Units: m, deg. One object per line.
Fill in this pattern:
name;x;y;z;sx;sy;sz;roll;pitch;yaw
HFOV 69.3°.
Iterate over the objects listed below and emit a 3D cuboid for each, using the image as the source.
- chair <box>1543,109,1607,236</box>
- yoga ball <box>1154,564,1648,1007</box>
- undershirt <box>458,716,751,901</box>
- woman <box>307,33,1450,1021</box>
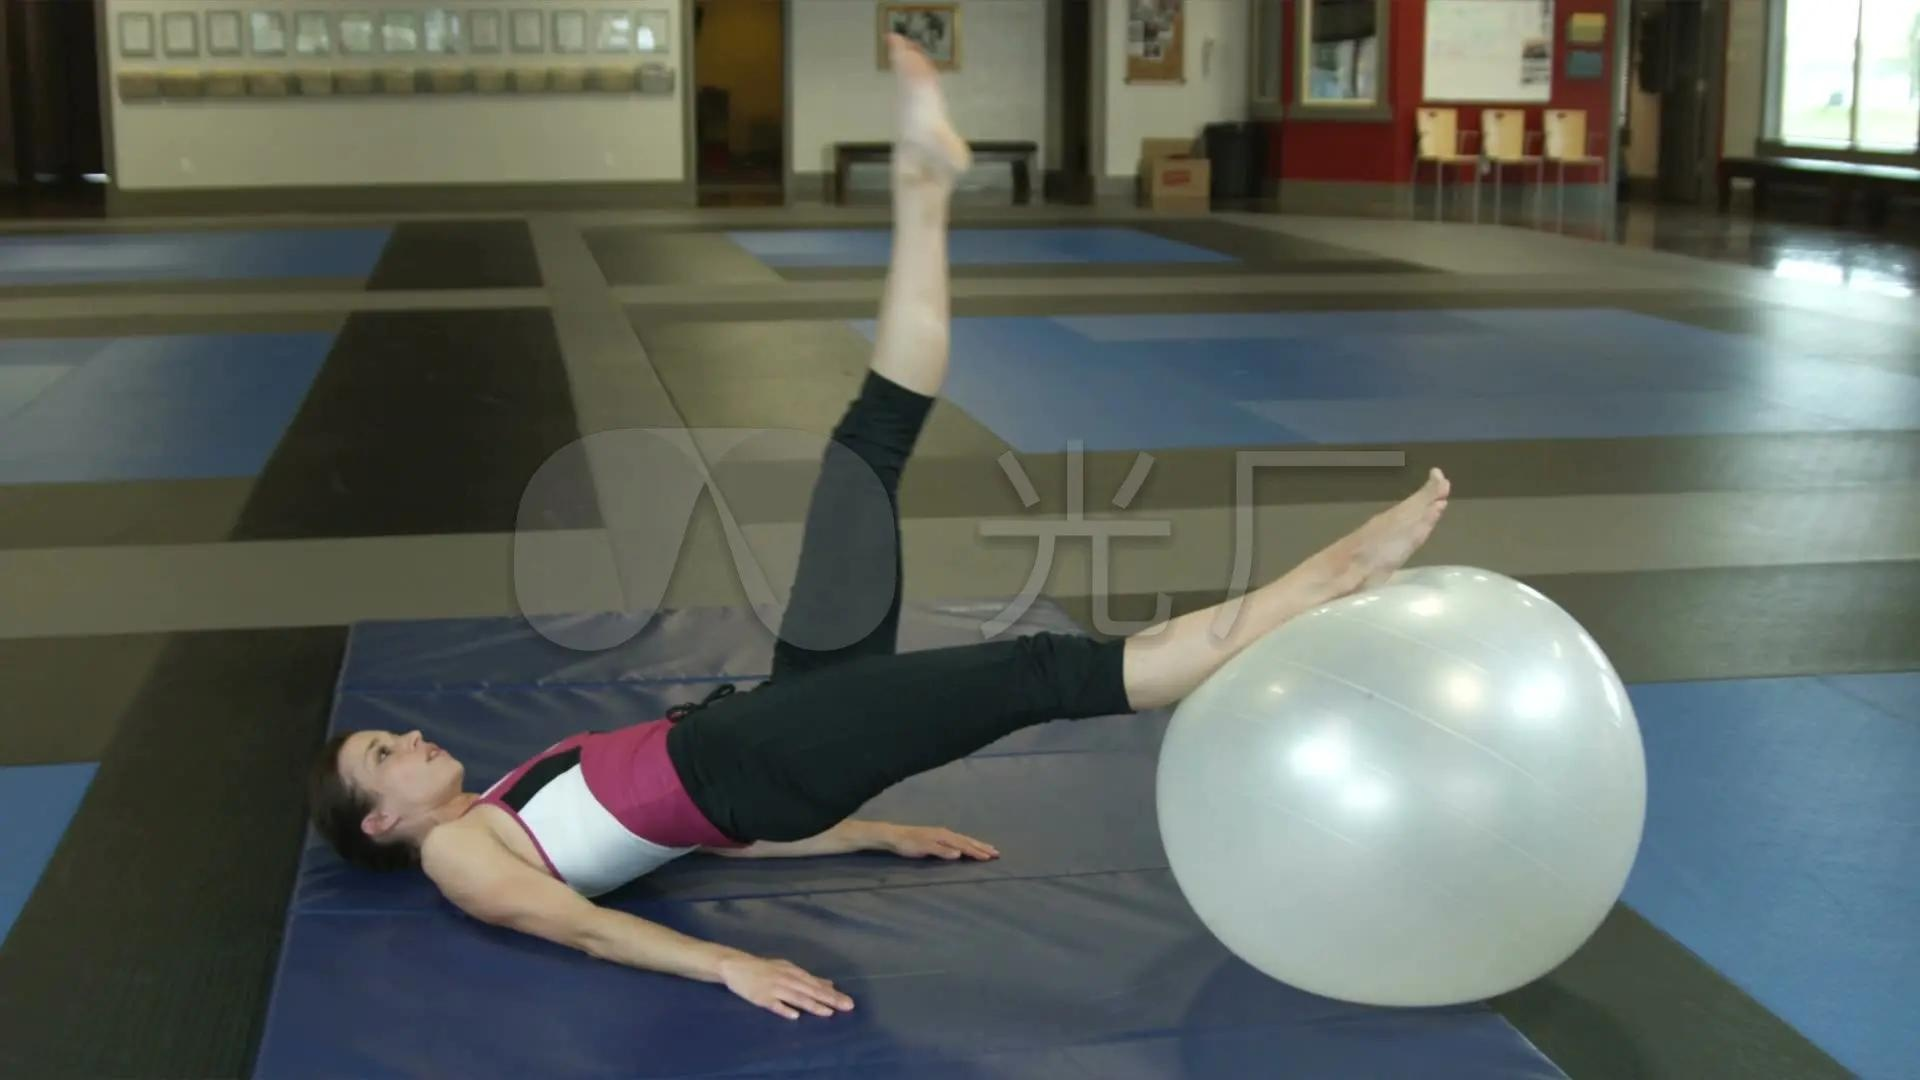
chair;5.947;-3.657;13.598;0.588;1.061;0.626;0;19;3
yoga ball;0.945;0.491;2.838;0.866;0.539;0.879;-21;15;6
undershirt;-0.786;0.606;3.236;0.591;0.327;0.231;-23;0;0
woman;-0.331;-0.115;3.139;2.553;1.894;1.034;-7;13;5
